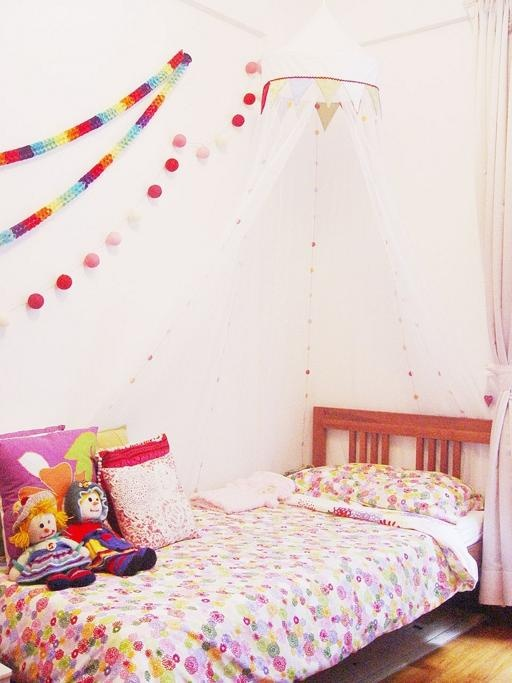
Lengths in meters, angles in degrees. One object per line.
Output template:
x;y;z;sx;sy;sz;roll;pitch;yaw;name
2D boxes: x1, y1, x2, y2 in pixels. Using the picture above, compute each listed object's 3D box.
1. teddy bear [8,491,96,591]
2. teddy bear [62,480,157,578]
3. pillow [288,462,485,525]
-0.612;0.606;1.635;0.251;0.300;0.198;-15;-13;22;teddy bear
-0.497;0.600;1.778;0.332;0.271;0.198;3;0;26;teddy bear
0.601;0.724;2.681;0.557;0.101;0.349;-3;0;42;pillow
